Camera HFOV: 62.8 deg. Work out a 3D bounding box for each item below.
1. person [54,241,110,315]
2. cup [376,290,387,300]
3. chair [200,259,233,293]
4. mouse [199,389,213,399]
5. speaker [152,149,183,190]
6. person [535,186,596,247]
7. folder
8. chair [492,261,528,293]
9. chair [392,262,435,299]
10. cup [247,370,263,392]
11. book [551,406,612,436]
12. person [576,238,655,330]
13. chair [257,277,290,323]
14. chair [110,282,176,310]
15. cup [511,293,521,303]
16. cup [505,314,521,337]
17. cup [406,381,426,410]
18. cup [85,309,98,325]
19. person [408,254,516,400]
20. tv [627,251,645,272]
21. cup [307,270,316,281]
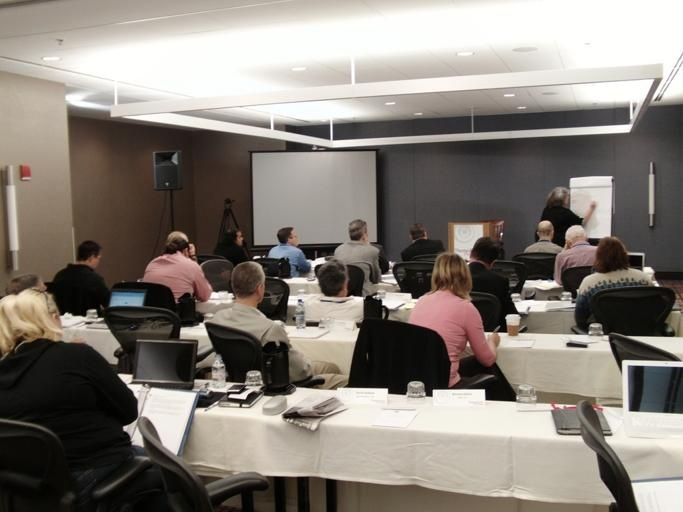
[{"bbox_3d":[-2.628,0.358,5.868,0.414,0.986,0.378,-14,34,-36],"label":"person"},{"bbox_3d":[0.408,0.393,5.677,0.079,0.085,0.079,0,0,0],"label":"cup"},{"bbox_3d":[-1.560,0.260,7.102,0.356,0.469,0.459,-1,-8,-13],"label":"chair"},{"bbox_3d":[-0.719,0.742,2.993,0.061,0.022,0.064,3,6,14],"label":"mouse"},{"bbox_3d":[-3.234,-1.600,10.403,0.426,0.703,0.659,-3,6,-23],"label":"speaker"},{"bbox_3d":[3.519,-0.349,8.669,0.758,1.404,0.579,-1,-4,7],"label":"person"},{"bbox_3d":[-0.889,0.813,2.842,0.335,0.365,0.084,7,-12,8],"label":"folder"},{"bbox_3d":[1.854,0.230,5.915,0.185,0.230,0.220,-12,7,7],"label":"chair"},{"bbox_3d":[0.859,0.263,6.387,0.358,0.598,0.436,2,8,16],"label":"chair"},{"bbox_3d":[-0.485,0.700,3.143,0.079,0.084,0.086,1,-2,0],"label":"cup"},{"bbox_3d":[1.033,0.718,2.414,0.176,0.047,0.184,0,7,5],"label":"book"},{"bbox_3d":[2.138,0.194,4.656,0.558,1.022,0.706,2,7,14],"label":"person"},{"bbox_3d":[-0.636,0.411,5.483,0.300,0.540,0.398,3,15,2],"label":"chair"},{"bbox_3d":[-1.684,0.341,5.013,0.394,0.273,0.304,1,-4,2],"label":"chair"},{"bbox_3d":[1.633,0.396,5.246,0.092,0.094,0.097,0,-3,0],"label":"cup"},{"bbox_3d":[1.277,0.511,4.153,0.140,0.151,0.136,-1,-3,0],"label":"cup"},{"bbox_3d":[0.396,0.736,2.959,0.078,0.120,0.116,1,-10,-2],"label":"cup"},{"bbox_3d":[-2.204,0.538,4.938,0.119,0.125,0.123,0,4,0],"label":"cup"},{"bbox_3d":[0.829,0.491,3.735,0.505,1.106,0.775,10,29,36],"label":"person"},{"bbox_3d":[3.374,0.064,6.411,0.232,0.238,0.131,-1,1,30],"label":"tv"},{"bbox_3d":[-0.396,0.266,7.406,0.096,0.114,0.099,0,-7,0],"label":"cup"}]
